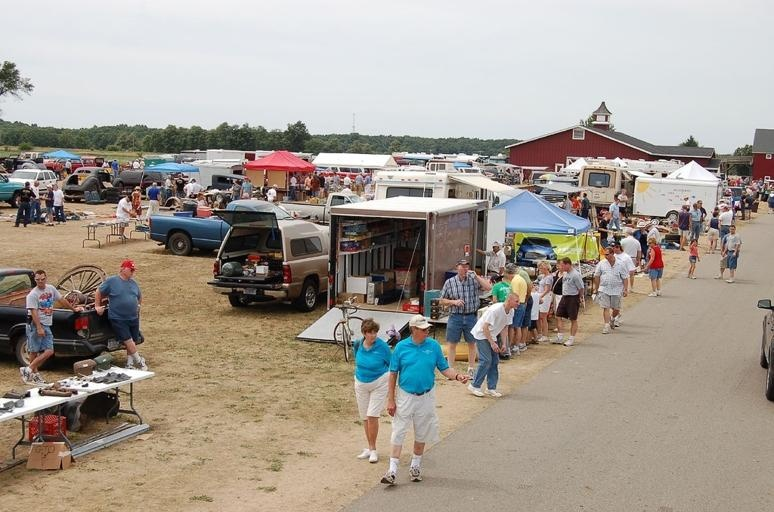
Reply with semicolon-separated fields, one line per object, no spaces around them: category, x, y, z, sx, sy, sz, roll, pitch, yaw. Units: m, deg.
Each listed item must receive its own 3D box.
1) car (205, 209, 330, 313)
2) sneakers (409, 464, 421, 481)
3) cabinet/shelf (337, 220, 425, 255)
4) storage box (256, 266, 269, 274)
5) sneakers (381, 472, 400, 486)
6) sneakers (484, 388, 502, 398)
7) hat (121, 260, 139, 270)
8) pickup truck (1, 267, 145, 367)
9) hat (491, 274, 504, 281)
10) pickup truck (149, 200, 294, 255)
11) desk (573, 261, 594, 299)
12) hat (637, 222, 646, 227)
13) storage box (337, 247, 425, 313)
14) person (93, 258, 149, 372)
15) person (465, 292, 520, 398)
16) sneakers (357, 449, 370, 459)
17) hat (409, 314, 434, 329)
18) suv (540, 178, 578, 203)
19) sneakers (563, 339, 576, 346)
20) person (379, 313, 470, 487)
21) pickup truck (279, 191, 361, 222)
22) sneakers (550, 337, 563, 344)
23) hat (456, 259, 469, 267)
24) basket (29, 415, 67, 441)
car;-2.894;0.051;18.218;1.989;1.722;3.545;2;10;20
sneakers;0.409;3.038;10.409;0.121;0.107;0.250;0;-1;0
cabinet/shelf;0.069;-0.523;18.072;2.949;0.542;0.374;-6;4;-29
storage box;-3.001;0.318;17.725;0.227;0.204;0.161;2;-1;9
sneakers;0.027;3.085;10.262;0.122;0.127;0.295;1;-13;13
sneakers;1.917;2.457;13.328;0.275;0.108;0.126;1;5;23
hat;-5.936;0.191;17.073;0.468;0.221;0.291;-1;6;-30
pickup truck;-6.160;1.064;14.154;3.315;1.173;1.504;6;3;23
hat;2.693;0.489;18.217;0.233;0.171;0.515;-1;12;-4
pickup truck;-5.718;-0.739;24.468;5.073;1.692;2.239;1;7;12
desk;5.172;0.627;19.454;0.741;0.394;0.944;13;30;-1
hat;8.646;-1.083;25.143;0.329;0.137;0.458;1;6;28
storage box;-0.049;0.420;17.626;1.072;1.234;2.633;7;14;30
person;-4.876;1.092;13.521;0.730;1.957;0.610;-4;14;-16
person;1.891;1.552;13.287;0.799;2.048;1.053;1;13;6
sneakers;-0.331;2.967;11.067;0.256;0.093;0.083;-2;0;0
hat;0.453;0.929;10.422;0.287;0.141;0.214;3;4;28
suv;7.795;-2.959;33.040;1.638;1.144;3.382;1;3;20
sneakers;4.069;1.900;16.480;0.199;0.161;0.252;3;13;13
person;0.362;2.020;10.351;1.122;2.245;0.734;-13;18;-43
pickup truck;-2.536;-1.654;28.139;3.018;1.218;1.680;0;7;4
sneakers;3.851;1.902;16.749;0.296;0.116;0.120;1;0;3
hat;1.394;0.112;13.556;0.165;0.083;0.240;0;2;-6
basket;-5.083;2.525;11.163;0.461;0.338;0.614;0;0;13
